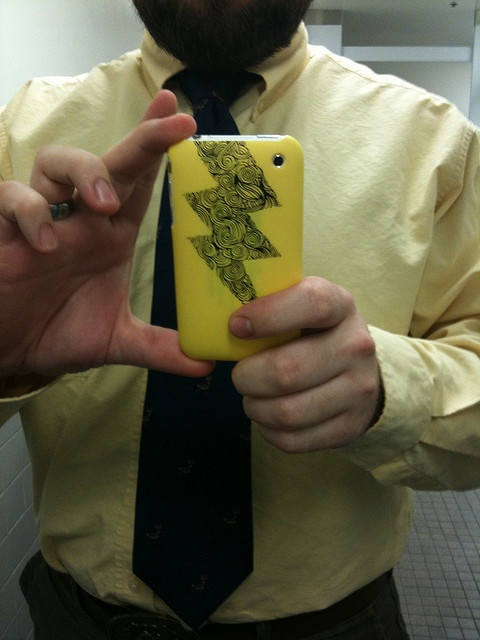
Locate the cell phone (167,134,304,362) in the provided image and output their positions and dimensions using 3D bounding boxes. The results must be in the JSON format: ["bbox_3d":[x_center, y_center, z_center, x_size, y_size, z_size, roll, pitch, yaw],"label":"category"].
[{"bbox_3d":[-0.002,-0.075,0.603,0.147,0.193,0.175,-1,55,9],"label":"cell phone"}]
